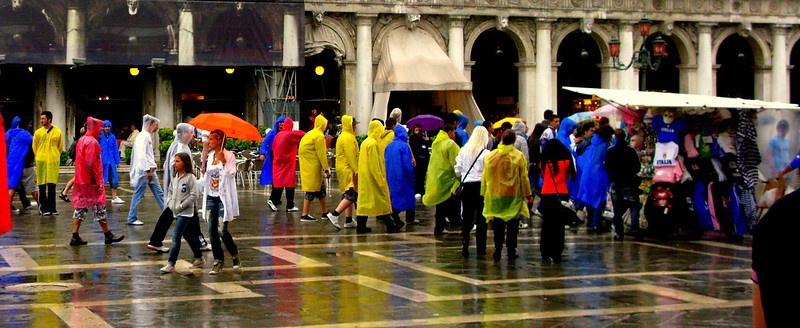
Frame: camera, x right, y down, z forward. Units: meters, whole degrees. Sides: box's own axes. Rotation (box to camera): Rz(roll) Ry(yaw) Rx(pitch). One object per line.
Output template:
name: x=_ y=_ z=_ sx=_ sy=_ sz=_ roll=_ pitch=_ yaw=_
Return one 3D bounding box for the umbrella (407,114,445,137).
umbrella: x=1.444 y=-2.194 z=40.792 sx=1.445 sy=0.801 sz=1.205 roll=0 pitch=-37 yaw=-1

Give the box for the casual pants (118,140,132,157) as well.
casual pants: x=-16.283 y=-0.983 z=46.372 sx=1.050 sy=1.147 sz=0.619 roll=-3 pitch=-5 yaw=16

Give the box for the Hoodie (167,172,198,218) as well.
Hoodie: x=-7.450 y=1.052 z=27.041 sx=1.042 sy=1.459 sz=0.421 roll=-1 pitch=0 yaw=-5

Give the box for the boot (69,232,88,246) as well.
boot: x=-11.931 y=2.788 z=28.914 sx=0.874 sy=0.498 sz=0.309 roll=-6 pitch=13 yaw=-33

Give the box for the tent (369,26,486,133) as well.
tent: x=2.088 y=-6.097 z=50.017 sx=7.879 sy=4.191 sz=5.564 roll=-3 pitch=8 yaw=-10

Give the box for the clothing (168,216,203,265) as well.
clothing: x=-7.296 y=2.584 z=27.250 sx=0.843 sy=1.615 sz=1.333 roll=-1 pitch=0 yaw=19

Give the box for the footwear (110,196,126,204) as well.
footwear: x=-12.546 y=1.619 z=34.980 sx=0.815 sy=0.292 sz=0.261 roll=7 pitch=-2 yaw=16

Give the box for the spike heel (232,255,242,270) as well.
spike heel: x=-5.612 y=3.400 z=27.076 sx=0.225 sy=0.488 sz=0.235 roll=2 pitch=3 yaw=5
